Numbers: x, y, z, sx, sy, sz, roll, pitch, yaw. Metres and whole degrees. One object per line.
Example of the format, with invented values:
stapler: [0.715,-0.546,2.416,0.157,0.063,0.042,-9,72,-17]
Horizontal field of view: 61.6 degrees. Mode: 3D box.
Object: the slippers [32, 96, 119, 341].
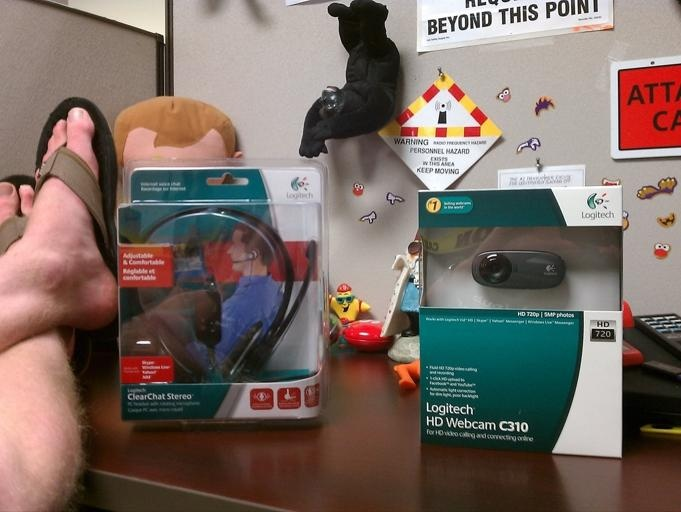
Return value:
slippers: [-0.624,-0.101,1.254,0.225,0.187,0.731,3,33,-34]
